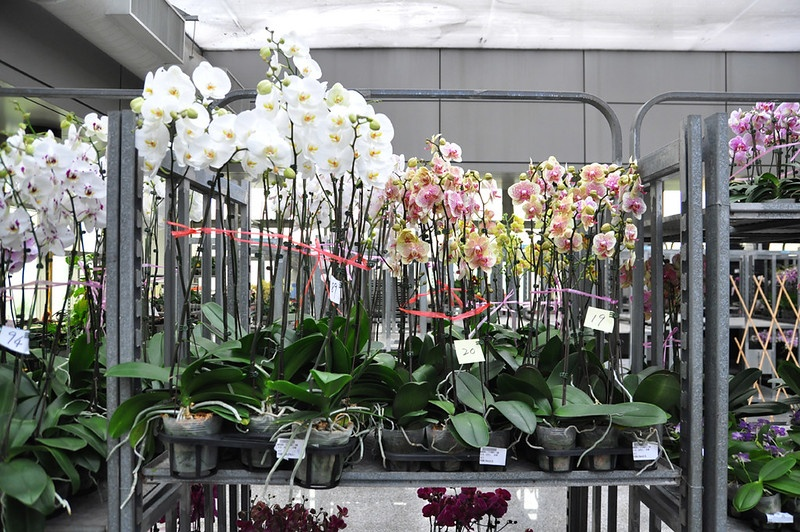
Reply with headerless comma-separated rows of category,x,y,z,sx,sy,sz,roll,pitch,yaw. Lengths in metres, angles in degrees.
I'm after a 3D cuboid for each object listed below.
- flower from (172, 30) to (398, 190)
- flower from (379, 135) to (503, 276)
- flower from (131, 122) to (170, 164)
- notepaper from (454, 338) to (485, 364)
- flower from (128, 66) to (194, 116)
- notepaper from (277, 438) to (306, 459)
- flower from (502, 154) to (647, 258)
flower,-0.516,-0.622,3.506,0.857,0.588,0.627,5,29,-17
flower,0.256,-0.217,4.038,0.567,1.043,0.654,1,-4,27
flower,-1.138,-0.567,3.438,0.187,0.167,0.101,-3,-7,30
notepaper,0.337,0.414,3.643,0.127,0.155,0.012,1,-20,-17
flower,-1.045,-0.785,3.442,0.198,0.245,0.086,14,6,1
notepaper,-0.500,0.828,3.416,0.112,0.099,0.029,6,-4,-8
flower,0.907,-0.296,3.874,0.735,0.535,0.527,1,-6,-3
